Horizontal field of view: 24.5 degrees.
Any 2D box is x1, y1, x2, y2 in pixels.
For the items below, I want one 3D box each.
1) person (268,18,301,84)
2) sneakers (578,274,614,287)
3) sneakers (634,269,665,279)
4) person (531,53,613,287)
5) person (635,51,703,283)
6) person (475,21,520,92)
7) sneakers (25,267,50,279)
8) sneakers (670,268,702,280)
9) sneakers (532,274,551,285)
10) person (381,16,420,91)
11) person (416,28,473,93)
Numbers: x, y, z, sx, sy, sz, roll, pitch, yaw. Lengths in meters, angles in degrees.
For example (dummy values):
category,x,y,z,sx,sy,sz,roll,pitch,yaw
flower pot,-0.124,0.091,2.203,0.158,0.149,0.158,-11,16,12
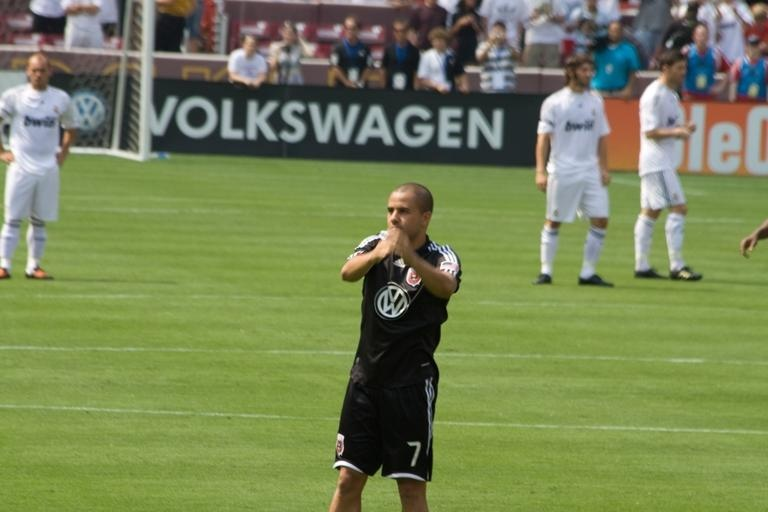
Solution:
category,x,y,z,sx,sy,sz,roll,pitch,yaw
person,-1.705,-3.463,30.643,0.357,1.044,0.746,7,6,44
sneakers,2.956,0.390,24.620,0.519,0.191,0.183,2,-1,3
sneakers,3.741,0.306,24.982,0.462,0.164,0.151,0,-1,-2
person,2.652,-1.122,24.443,1.062,3.190,0.531,3,5,4
person,3.954,-1.206,24.697,0.865,3.210,0.904,3,5,10
person,1.944,-3.019,30.279,0.755,1.831,0.511,-5,22,-5
sneakers,-4.678,0.278,24.049,0.275,0.122,0.158,-3,-7,29
sneakers,4.248,0.303,25.065,0.516,0.220,0.168,-1,3,7
sneakers,2.210,0.378,24.709,0.291,0.108,0.096,7,-9,-40
person,0.334,-3.353,29.970,0.758,1.132,0.636,1,22,2
person,1.008,-3.251,29.859,0.861,1.080,0.417,2,5,-1
